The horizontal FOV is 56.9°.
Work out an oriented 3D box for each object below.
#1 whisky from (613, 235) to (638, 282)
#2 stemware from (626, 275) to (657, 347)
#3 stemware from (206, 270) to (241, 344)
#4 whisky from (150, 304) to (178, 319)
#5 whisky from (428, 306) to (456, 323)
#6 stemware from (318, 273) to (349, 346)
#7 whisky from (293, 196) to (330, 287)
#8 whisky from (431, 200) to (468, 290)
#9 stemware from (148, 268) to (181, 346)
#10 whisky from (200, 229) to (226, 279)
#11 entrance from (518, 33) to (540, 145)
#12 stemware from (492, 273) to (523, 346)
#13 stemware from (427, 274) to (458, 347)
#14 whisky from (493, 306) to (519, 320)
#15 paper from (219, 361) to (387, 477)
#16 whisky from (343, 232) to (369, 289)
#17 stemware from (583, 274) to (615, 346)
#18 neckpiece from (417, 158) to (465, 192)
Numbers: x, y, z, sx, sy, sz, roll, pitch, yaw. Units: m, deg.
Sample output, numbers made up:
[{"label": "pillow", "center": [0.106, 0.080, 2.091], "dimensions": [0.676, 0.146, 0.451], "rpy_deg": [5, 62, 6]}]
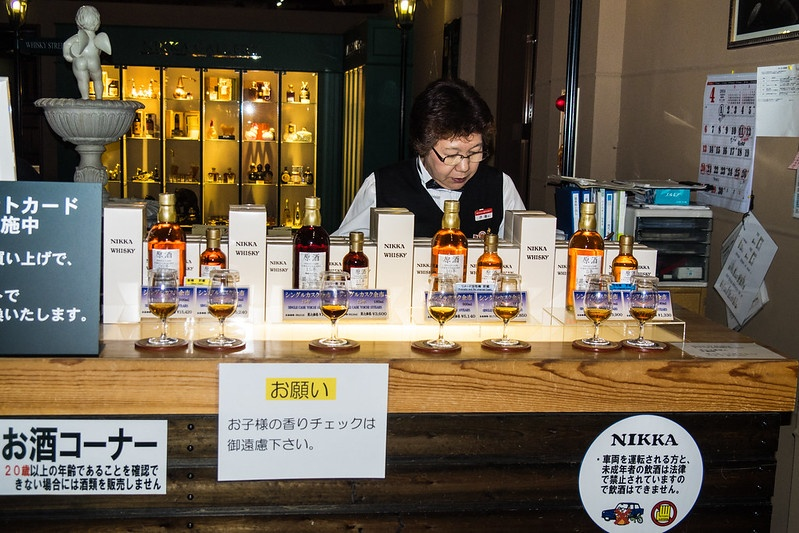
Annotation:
[{"label": "whisky", "center": [0.824, -0.006, 2.701], "dimensions": [0.087, 0.217, 0.086], "rpy_deg": [-2, 13, -10]}, {"label": "stemware", "center": [0.817, 0.150, 2.518], "dimensions": [0.102, 0.249, 0.204], "rpy_deg": [0, 4, 16]}, {"label": "stemware", "center": [-0.574, 0.131, 2.413], "dimensions": [0.109, 0.259, 0.218], "rpy_deg": [-2, 4, -13]}, {"label": "whisky", "center": [-0.748, 0.134, 2.328], "dimensions": [0.060, 0.045, 0.059], "rpy_deg": [-2, 7, -9]}, {"label": "whisky", "center": [0.138, 0.147, 2.387], "dimensions": [0.068, 0.049, 0.066], "rpy_deg": [1, 0, -2]}, {"label": "stemware", "center": [-0.218, 0.138, 2.413], "dimensions": [0.102, 0.250, 0.150], "rpy_deg": [-2, 4, -6]}, {"label": "whisky", "center": [-0.310, -0.081, 2.550], "dimensions": [0.135, 0.313, 0.317], "rpy_deg": [-2, 4, -7]}, {"label": "whisky", "center": [0.179, -0.090, 2.593], "dimensions": [0.141, 0.290, 0.210], "rpy_deg": [-2, 4, -2]}, {"label": "stemware", "center": [-0.770, 0.129, 2.400], "dimensions": [0.105, 0.254, 0.209], "rpy_deg": [-3, 4, -19]}, {"label": "whisky", "center": [-0.649, -0.050, 2.541], "dimensions": [0.095, 0.175, 0.093], "rpy_deg": [-2, 4, -10]}, {"label": "entrance", "center": [1.083, -1.439, 6.316], "dimensions": [0.151, 1.026, 0.148], "rpy_deg": [-1, 18, 4]}, {"label": "stemware", "center": [0.369, 0.142, 2.509], "dimensions": [0.111, 0.248, 0.195], "rpy_deg": [-1, 4, 5]}, {"label": "stemware", "center": [0.145, 0.146, 2.459], "dimensions": [0.100, 0.256, 0.221], "rpy_deg": [-1, 4, 4]}, {"label": "whisky", "center": [0.353, 0.145, 2.438], "dimensions": [0.060, 0.055, 0.058], "rpy_deg": [0, 2, -2]}, {"label": "paper", "center": [-0.332, 0.472, 2.337], "dimensions": [0.387, 0.263, 0.051], "rpy_deg": [1, 1, -3]}, {"label": "whisky", "center": [-0.151, -0.023, 2.567], "dimensions": [0.098, 0.195, 0.120], "rpy_deg": [-2, 4, -7]}, {"label": "stemware", "center": [0.675, 0.146, 2.513], "dimensions": [0.092, 0.248, 0.196], "rpy_deg": [0, 4, 16]}, {"label": "neckpiece", "center": [0.215, -0.456, 3.624], "dimensions": [0.162, 0.111, 0.204], "rpy_deg": [-1, 12, -14]}]
